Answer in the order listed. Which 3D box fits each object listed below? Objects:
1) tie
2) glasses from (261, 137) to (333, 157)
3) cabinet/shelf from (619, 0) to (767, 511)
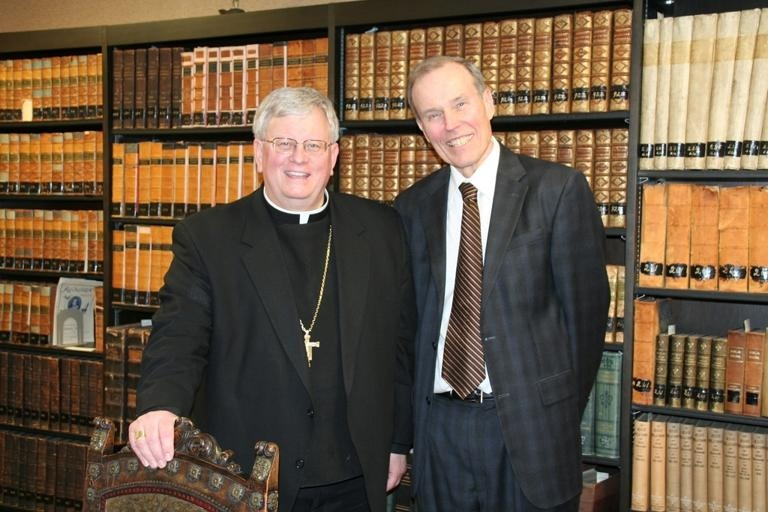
[{"bbox_3d":[0.347,0.138,3.292,0.181,0.914,0.076,0,-4,21],"label":"tie"},{"bbox_3d":[-0.350,-0.446,3.204,0.252,0.076,0.047,2,-4,-4],"label":"glasses"},{"bbox_3d":[1.410,-0.015,3.838,0.481,2.578,0.317,0,-4,17],"label":"cabinet/shelf"}]
